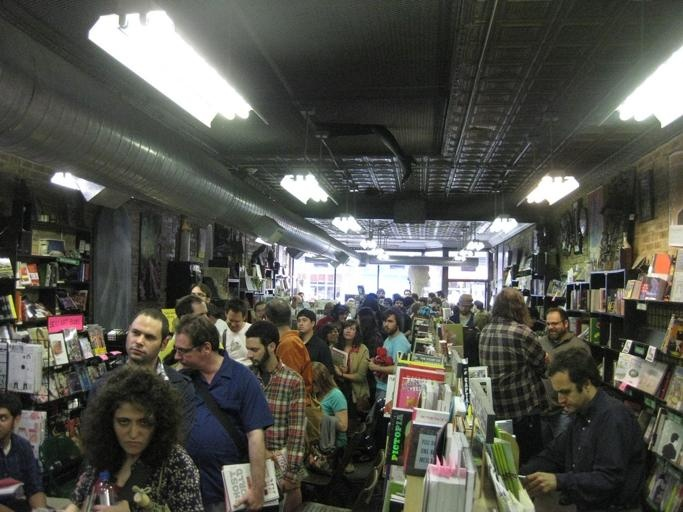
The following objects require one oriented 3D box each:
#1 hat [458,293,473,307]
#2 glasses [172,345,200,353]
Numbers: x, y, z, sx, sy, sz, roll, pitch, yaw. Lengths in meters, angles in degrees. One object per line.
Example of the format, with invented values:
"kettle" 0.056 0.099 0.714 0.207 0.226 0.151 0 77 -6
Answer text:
"hat" 2.482 0.887 10.616 0.216 0.285 0.286 5 -7 14
"glasses" -1.050 0.631 3.576 0.155 0.054 0.045 3 -3 12
